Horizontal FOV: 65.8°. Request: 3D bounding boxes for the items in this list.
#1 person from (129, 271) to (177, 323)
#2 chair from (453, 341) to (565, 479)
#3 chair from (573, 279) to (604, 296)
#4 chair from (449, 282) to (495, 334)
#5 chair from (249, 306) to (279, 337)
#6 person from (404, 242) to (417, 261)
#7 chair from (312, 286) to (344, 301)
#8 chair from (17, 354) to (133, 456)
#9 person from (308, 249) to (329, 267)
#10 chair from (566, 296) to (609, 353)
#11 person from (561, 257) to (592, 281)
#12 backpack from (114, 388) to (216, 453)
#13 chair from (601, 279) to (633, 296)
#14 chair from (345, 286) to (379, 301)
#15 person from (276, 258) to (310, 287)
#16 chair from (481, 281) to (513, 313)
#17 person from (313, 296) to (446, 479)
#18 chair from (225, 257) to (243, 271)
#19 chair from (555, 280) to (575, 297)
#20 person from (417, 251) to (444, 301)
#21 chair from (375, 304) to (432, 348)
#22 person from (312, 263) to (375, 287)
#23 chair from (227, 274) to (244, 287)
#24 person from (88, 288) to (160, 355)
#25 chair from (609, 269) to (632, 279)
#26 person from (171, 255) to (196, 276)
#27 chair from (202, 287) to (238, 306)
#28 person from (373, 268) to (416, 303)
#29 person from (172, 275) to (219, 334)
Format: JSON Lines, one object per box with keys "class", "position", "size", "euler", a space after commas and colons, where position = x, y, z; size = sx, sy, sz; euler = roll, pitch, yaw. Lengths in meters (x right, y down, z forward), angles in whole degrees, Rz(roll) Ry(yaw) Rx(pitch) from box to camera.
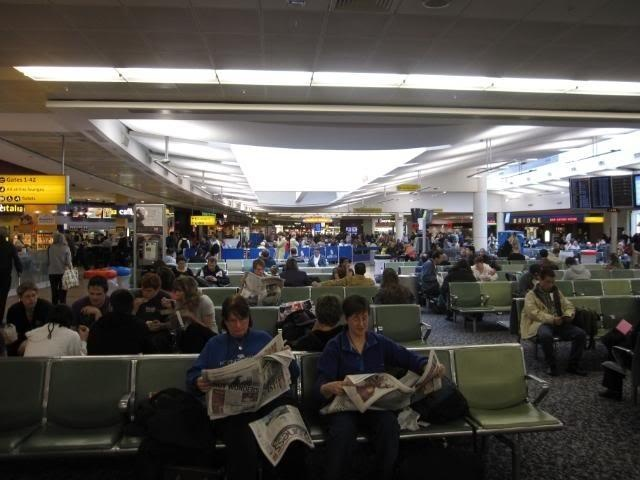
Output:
{"class": "person", "position": [-2.159, 0.824, 6.331], "size": [0.548, 0.783, 0.409], "euler": [3, 9, -14]}
{"class": "chair", "position": [1.773, 1.682, 5.217], "size": [1.096, 1.413, 1.155], "euler": [-1, -5, -7]}
{"class": "chair", "position": [5.085, 0.896, 9.393], "size": [0.521, 0.353, 0.284], "euler": [0, 1, 0]}
{"class": "chair", "position": [2.851, 1.231, 9.536], "size": [0.801, 0.930, 0.878], "euler": [0, -3, -7]}
{"class": "chair", "position": [-0.714, 1.051, 6.340], "size": [0.532, 0.513, 0.272], "euler": [1, -9, -3]}
{"class": "person", "position": [3.474, 0.424, 18.841], "size": [0.595, 0.778, 0.454], "euler": [-6, 5, -9]}
{"class": "chair", "position": [0.122, 0.781, 7.271], "size": [0.417, 0.273, 0.215], "euler": [0, -5, -2]}
{"class": "chair", "position": [-2.292, 1.573, 4.849], "size": [0.841, 0.732, 0.620], "euler": [0, 1, -3]}
{"class": "person", "position": [-0.066, 0.623, 17.628], "size": [0.595, 1.045, 0.394], "euler": [-3, 7, -1]}
{"class": "chair", "position": [4.078, 1.234, 7.453], "size": [0.723, 0.947, 0.779], "euler": [-3, -6, 37]}
{"class": "person", "position": [5.919, 0.651, 11.395], "size": [0.355, 0.279, 0.832], "euler": [17, 10, 16]}
{"class": "backpack", "position": [-1.333, 1.626, 4.518], "size": [0.648, 0.269, 0.497], "euler": [5, 6, 2]}
{"class": "chair", "position": [5.730, 0.894, 9.540], "size": [0.588, 0.387, 0.306], "euler": [0, 1, -3]}
{"class": "chair", "position": [0.655, 0.806, 7.559], "size": [0.464, 0.313, 0.250], "euler": [0, -9, 1]}
{"class": "person", "position": [-0.428, 0.580, 9.028], "size": [0.542, 0.490, 0.749], "euler": [0, 0, -2]}
{"class": "chair", "position": [3.473, 1.048, 9.700], "size": [0.712, 0.650, 0.546], "euler": [0, -5, -4]}
{"class": "person", "position": [0.509, 1.346, 4.638], "size": [1.049, 1.611, 0.660], "euler": [0, 0, -2]}
{"class": "chair", "position": [-2.373, 0.693, 13.755], "size": [0.543, 0.367, 0.288], "euler": [1, -6, -14]}
{"class": "chair", "position": [4.654, 0.902, 9.318], "size": [0.302, 0.448, 0.279], "euler": [-1, -4, -2]}
{"class": "person", "position": [2.651, 0.832, 11.336], "size": [0.604, 1.112, 0.557], "euler": [1, 3, 15]}
{"class": "chair", "position": [1.125, 1.170, 7.173], "size": [0.658, 0.785, 0.629], "euler": [1, -5, -13]}
{"class": "person", "position": [0.529, 0.610, 8.969], "size": [0.912, 0.409, 1.316], "euler": [0, 0, 10]}
{"class": "chair", "position": [-1.721, 0.820, 10.096], "size": [0.407, 0.272, 0.231], "euler": [1, -5, -10]}
{"class": "person", "position": [-2.193, 0.965, 5.454], "size": [0.719, 0.549, 0.169], "euler": [0, 0, 1]}
{"class": "chair", "position": [6.750, 0.745, 11.061], "size": [0.518, 0.161, 0.238], "euler": [0, 0, -16]}
{"class": "person", "position": [-2.945, 0.553, 10.689], "size": [0.424, 0.809, 0.291], "euler": [-2, -8, -28]}
{"class": "chair", "position": [-1.442, 0.806, 7.102], "size": [0.528, 0.340, 0.284], "euler": [0, 6, -2]}
{"class": "person", "position": [1.153, 0.741, 7.718], "size": [0.665, 0.867, 0.506], "euler": [-1, 8, 12]}
{"class": "person", "position": [-1.577, 0.803, 6.283], "size": [0.588, 0.780, 0.522], "euler": [1, 8, -11]}
